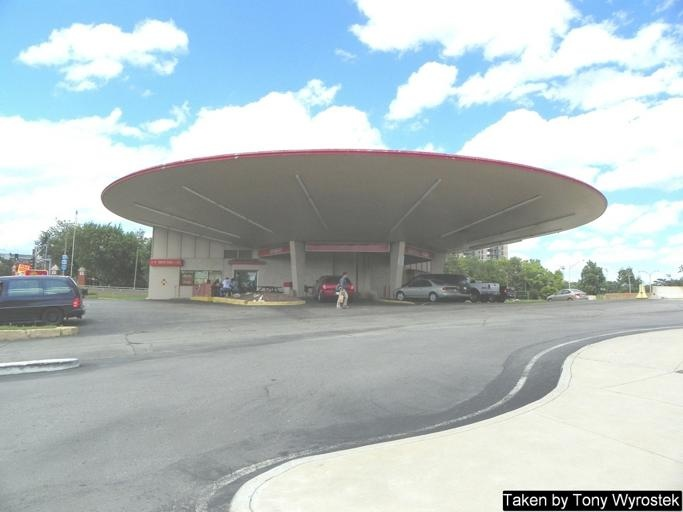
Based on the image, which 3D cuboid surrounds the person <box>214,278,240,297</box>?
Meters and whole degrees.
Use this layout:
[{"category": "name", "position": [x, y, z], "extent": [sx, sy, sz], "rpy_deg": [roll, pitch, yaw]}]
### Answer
[{"category": "person", "position": [-9.193, 2.590, 35.107], "extent": [1.455, 1.468, 0.802], "rpy_deg": [0, -15, -3]}]

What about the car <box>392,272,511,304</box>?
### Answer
[{"category": "car", "position": [5.901, 1.952, 25.963], "extent": [4.302, 1.204, 2.586], "rpy_deg": [-1, -3, 45]}]
